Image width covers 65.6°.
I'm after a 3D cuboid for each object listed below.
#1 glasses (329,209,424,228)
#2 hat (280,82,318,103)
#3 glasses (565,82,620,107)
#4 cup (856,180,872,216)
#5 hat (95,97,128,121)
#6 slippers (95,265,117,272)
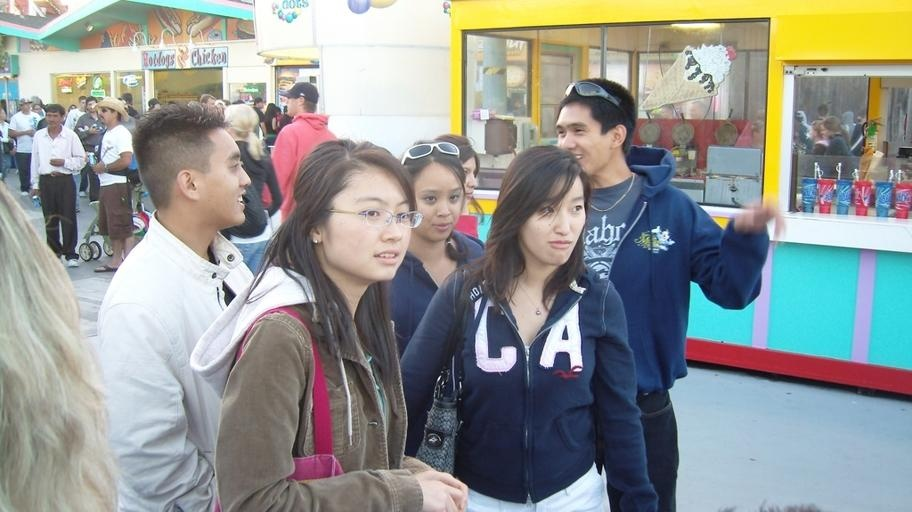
[{"bbox_3d":[-0.333,-0.160,2.952,0.374,0.074,0.073,0,9,-11],"label":"glasses"},{"bbox_3d":[-1.735,-1.809,7.846,0.332,0.167,0.219,14,15,-13],"label":"hat"},{"bbox_3d":[0.848,-1.002,4.251,0.207,0.057,0.211,26,-7,-31],"label":"glasses"},{"bbox_3d":[3.484,-0.496,6.065,0.144,0.295,0.092,7,10,28],"label":"cup"},{"bbox_3d":[-4.456,-1.937,9.323,0.379,0.155,0.413,19,-13,1],"label":"hat"},{"bbox_3d":[-4.534,0.161,9.155,0.315,0.104,0.119,1,2,-27],"label":"slippers"}]
